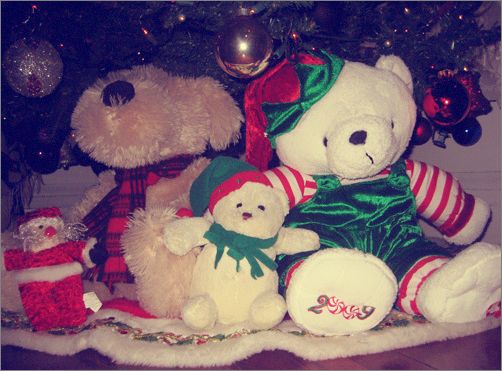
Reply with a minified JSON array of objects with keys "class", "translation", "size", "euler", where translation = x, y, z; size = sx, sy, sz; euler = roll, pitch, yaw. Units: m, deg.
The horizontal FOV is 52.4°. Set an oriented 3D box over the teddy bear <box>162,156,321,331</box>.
[{"class":"teddy bear","translation":[-0.035,0.200,1.874],"size":[0.560,0.648,0.157],"euler":[-5,-10,7]}]
